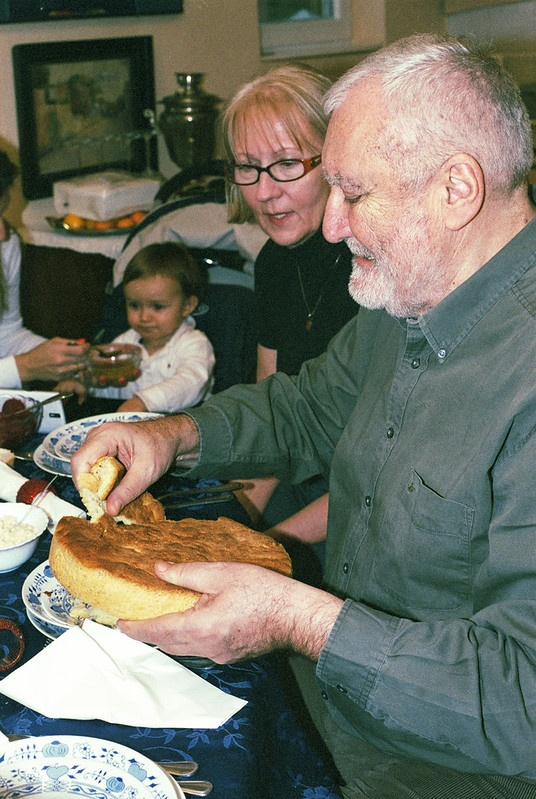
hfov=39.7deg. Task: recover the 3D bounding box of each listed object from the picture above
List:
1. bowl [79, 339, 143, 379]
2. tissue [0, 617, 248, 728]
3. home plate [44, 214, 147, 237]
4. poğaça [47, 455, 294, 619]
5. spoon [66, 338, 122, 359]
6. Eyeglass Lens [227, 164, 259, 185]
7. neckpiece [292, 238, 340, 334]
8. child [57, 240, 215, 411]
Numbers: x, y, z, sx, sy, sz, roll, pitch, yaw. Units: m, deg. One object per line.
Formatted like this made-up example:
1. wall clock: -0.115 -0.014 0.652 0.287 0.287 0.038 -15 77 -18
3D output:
1. bowl: -0.490 -0.135 2.382 0.138 0.097 0.121 2 9 0
2. tissue: -0.158 0.264 0.768 0.170 0.032 0.109 7 17 29
3. home plate: -0.637 -0.646 2.759 0.196 0.037 0.182 10 20 23
4. poğaça: -0.130 0.128 0.926 0.225 0.057 0.228 28 15 18
5. spoon: -0.545 -0.157 2.333 0.088 0.038 0.098 5 -2 23
6. Eyeglass Lens: -0.064 -0.572 1.890 0.071 0.022 0.073 12 15 43
7. neckpiece: 0.130 -0.309 1.968 0.146 0.224 0.055 -3 9 1
8. child: -0.460 -0.188 2.489 0.591 0.613 0.603 -2 14 -5
